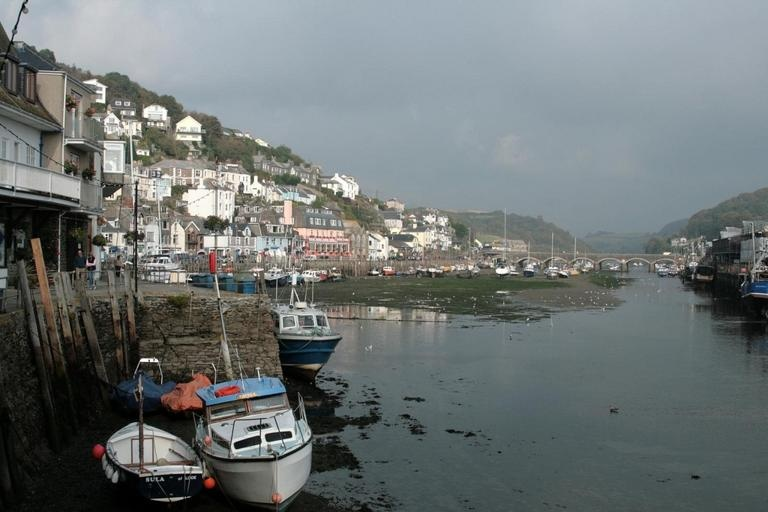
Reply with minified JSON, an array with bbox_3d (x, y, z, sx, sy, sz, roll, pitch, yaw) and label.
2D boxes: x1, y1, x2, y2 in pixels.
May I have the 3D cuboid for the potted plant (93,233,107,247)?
[{"bbox_3d":[-19.354,-1.161,51.036,0.858,0.856,0.851,7,-1,-7],"label":"potted plant"}]

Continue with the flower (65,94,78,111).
[{"bbox_3d":[-19.515,-9.650,46.745,0.815,0.834,0.821,1,-12,-33],"label":"flower"}]

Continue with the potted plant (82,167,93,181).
[{"bbox_3d":[-18.834,-5.252,47.724,0.762,0.764,0.764,-2,0,23],"label":"potted plant"}]
